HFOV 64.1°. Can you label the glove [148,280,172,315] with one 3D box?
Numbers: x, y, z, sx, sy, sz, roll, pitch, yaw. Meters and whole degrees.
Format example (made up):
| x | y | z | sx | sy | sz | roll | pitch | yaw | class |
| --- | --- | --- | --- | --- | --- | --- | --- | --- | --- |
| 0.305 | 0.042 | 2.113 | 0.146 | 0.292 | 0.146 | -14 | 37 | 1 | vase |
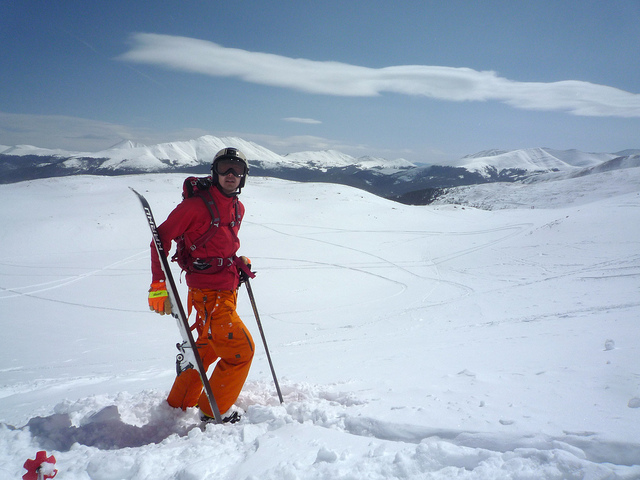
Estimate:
| x | y | z | sx | sy | sz | roll | pitch | yaw | class |
| --- | --- | --- | --- | --- | --- | --- | --- | --- | --- |
| -2.898 | 1.049 | 9.147 | 0.618 | 0.516 | 0.241 | 8 | 20 | 14 | glove |
